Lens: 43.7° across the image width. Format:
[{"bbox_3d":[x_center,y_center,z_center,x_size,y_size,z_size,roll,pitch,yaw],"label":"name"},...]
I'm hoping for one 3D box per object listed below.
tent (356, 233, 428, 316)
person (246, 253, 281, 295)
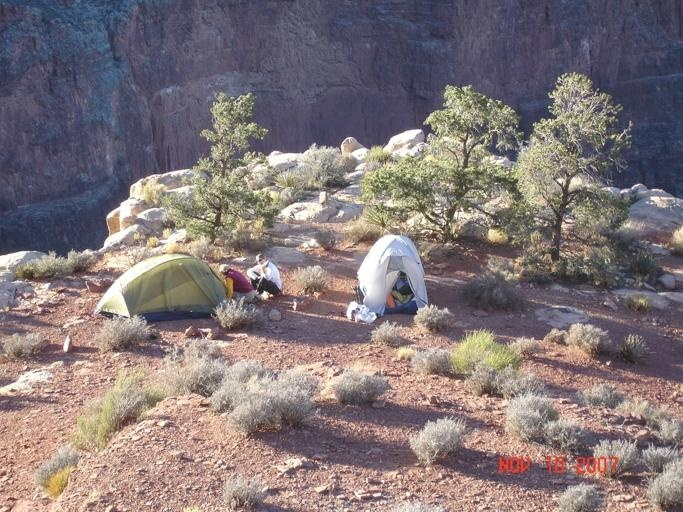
[{"bbox_3d":[1.711,0.683,27.512,1.594,1.858,2.790,-3,24,-1],"label":"tent"},{"bbox_3d":[-2.483,0.532,28.283,1.108,1.789,1.134,-4,8,-20],"label":"person"}]
